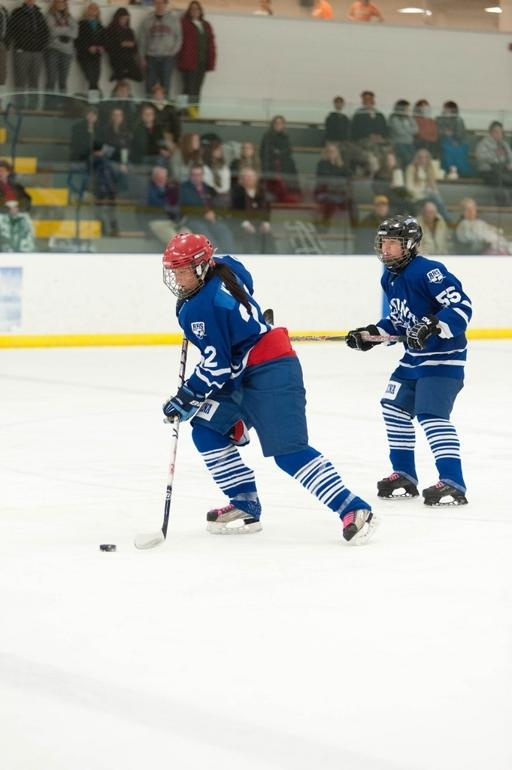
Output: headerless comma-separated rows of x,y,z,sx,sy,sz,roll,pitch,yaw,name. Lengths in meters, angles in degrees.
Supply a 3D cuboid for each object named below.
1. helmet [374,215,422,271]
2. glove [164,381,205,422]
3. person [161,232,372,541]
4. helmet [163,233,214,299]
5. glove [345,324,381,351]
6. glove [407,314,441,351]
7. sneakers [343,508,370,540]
0.507,-0.507,3.055,0.154,0.197,0.145,4,9,7,helmet
-0.190,0.048,2.504,0.119,0.096,0.051,-40,-3,30,glove
0.033,0.014,2.507,0.622,0.875,0.368,4,9,5,person
-0.179,-0.341,2.442,0.174,0.155,0.126,-19,13,-21,helmet
0.390,-0.176,3.082,0.125,0.045,0.087,0,-1,-26,glove
0.576,-0.172,2.919,0.092,0.125,0.051,35,-17,35,glove
0.279,0.386,2.403,0.060,0.040,0.122,10,15,5,sneakers
